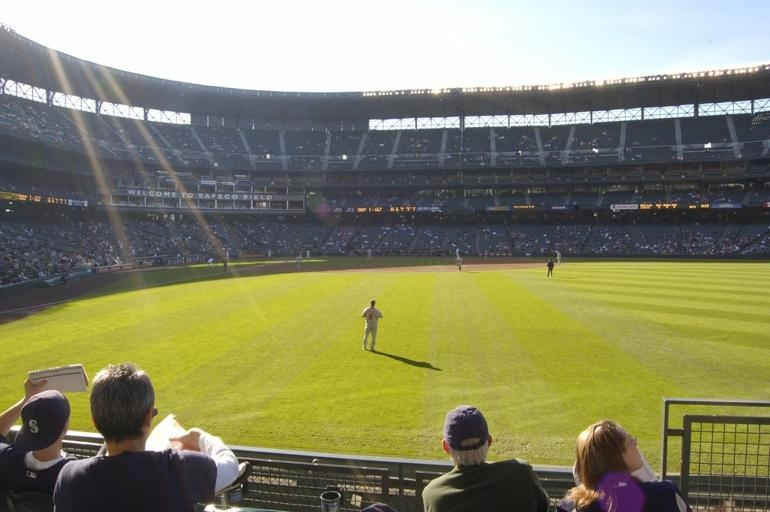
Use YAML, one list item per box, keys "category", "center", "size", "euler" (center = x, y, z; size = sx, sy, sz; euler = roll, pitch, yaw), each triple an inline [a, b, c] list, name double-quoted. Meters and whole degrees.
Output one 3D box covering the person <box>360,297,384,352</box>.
- category: "person"
  center: [-0.533, 2.630, 23.328]
  size: [0.771, 1.825, 1.385]
  euler: [-3, 11, -3]
